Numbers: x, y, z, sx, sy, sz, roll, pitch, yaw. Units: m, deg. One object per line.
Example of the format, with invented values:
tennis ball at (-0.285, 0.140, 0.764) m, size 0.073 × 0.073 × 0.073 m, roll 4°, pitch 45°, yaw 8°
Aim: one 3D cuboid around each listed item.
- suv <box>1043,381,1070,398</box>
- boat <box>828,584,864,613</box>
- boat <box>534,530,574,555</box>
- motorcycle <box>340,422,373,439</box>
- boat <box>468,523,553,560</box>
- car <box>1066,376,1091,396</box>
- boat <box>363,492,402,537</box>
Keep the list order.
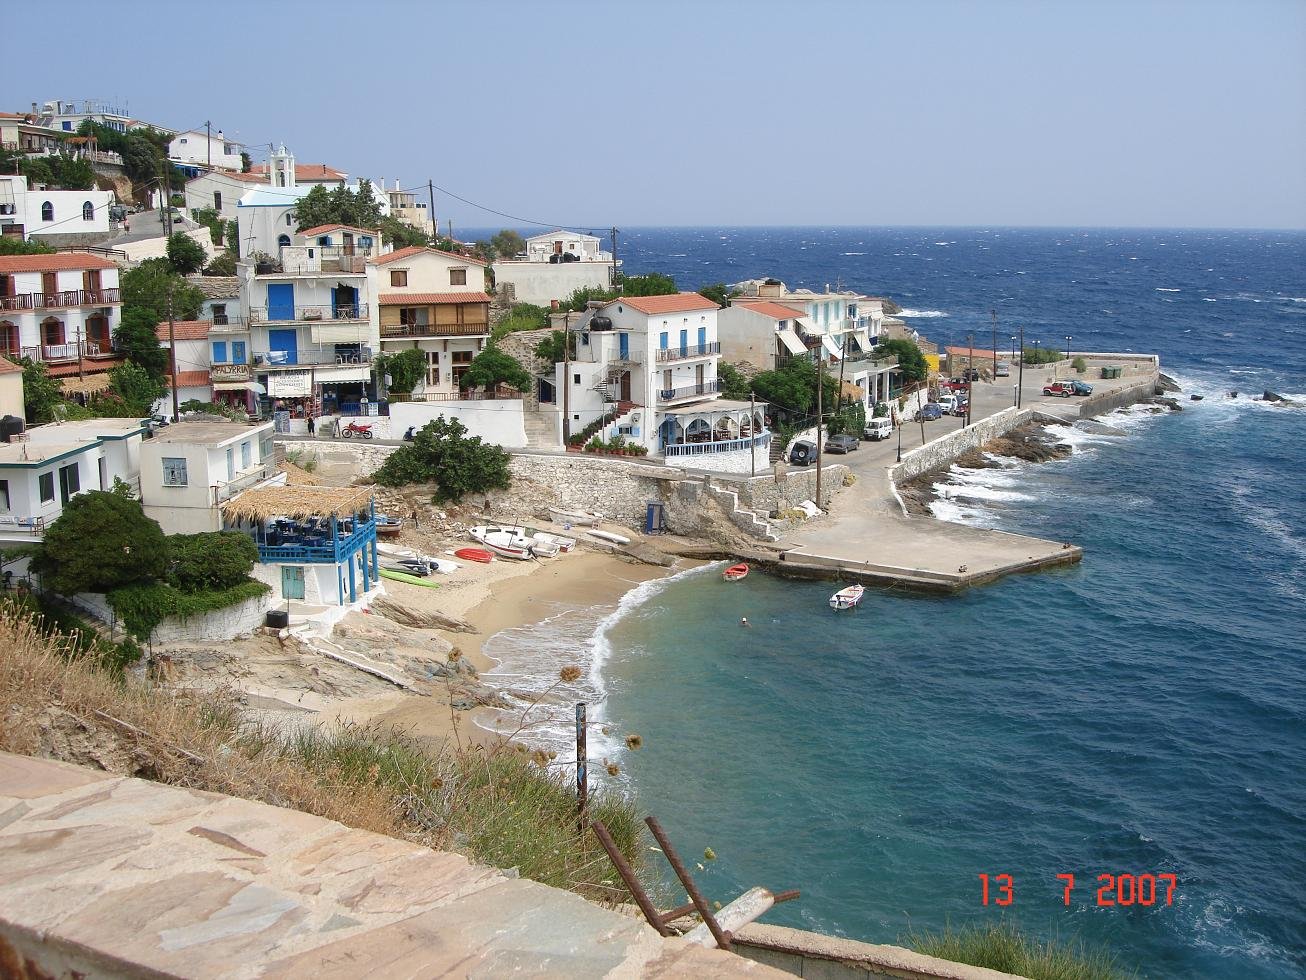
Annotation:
suv at (33.848, -8.496, 94.901) m, size 2.177 × 0.842 × 1.523 m, roll 4°, pitch 9°, yaw 30°
boat at (8.484, 4.654, 49.060) m, size 0.758 × 0.466 × 1.839 m, roll 22°, pitch 28°, yaw 27°
boat at (-4.694, 2.441, 53.715) m, size 1.372 × 0.350 × 1.267 m, roll -3°, pitch 31°, yaw -11°
motorcycle at (-14.926, -3.023, 56.859) m, size 1.474 × 0.700 × 0.823 m, roll 1°, pitch 2°, yaw -3°
boat at (-6.823, 2.313, 52.731) m, size 2.923 × 0.654 × 1.876 m, roll 22°, pitch 23°, yaw 18°
car at (36.319, -8.664, 95.981) m, size 1.452 × 0.916 × 2.248 m, roll 5°, pitch 17°, yaw 14°
boat at (-11.831, 1.068, 51.455) m, size 1.645 × 0.554 × 2.390 m, roll 11°, pitch 49°, yaw -38°
